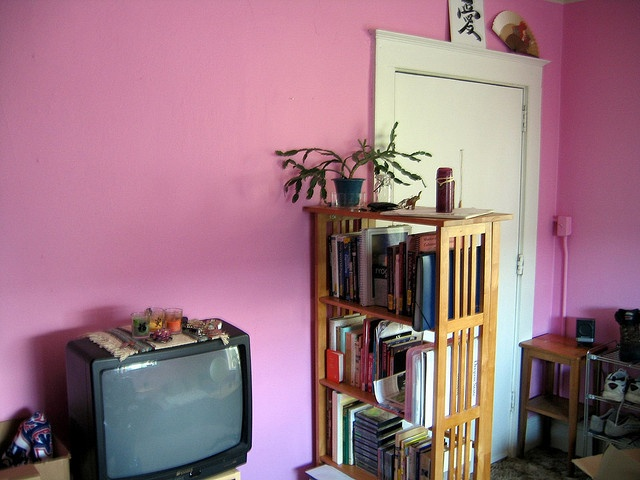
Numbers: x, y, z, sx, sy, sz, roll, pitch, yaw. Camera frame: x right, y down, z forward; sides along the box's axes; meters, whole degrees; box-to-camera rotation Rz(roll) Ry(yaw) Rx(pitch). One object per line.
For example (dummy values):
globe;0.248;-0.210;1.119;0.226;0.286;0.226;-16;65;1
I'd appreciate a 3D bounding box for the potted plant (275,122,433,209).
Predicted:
potted plant;0.142;-0.385;2.888;0.763;0.379;0.670;-10;17;-39

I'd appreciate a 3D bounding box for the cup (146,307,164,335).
cup;-0.707;0.345;2.295;0.090;0.104;0.083;1;-2;0

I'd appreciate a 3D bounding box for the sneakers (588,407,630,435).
sneakers;1.790;1.134;3.283;0.251;0.107;0.136;-4;4;-37

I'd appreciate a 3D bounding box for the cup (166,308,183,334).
cup;-0.633;0.350;2.317;0.082;0.103;0.087;1;-2;0

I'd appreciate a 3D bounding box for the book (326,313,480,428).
book;0.380;0.621;2.597;0.465;0.325;0.630;1;-2;39

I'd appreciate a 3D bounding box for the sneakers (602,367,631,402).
sneakers;1.834;0.891;3.283;0.092;0.118;0.243;2;8;33

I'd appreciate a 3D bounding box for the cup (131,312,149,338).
cup;-0.748;0.355;2.228;0.069;0.094;0.092;1;1;-13

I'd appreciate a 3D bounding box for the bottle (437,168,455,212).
bottle;0.551;-0.221;2.360;0.071;0.199;0.060;-2;4;10
